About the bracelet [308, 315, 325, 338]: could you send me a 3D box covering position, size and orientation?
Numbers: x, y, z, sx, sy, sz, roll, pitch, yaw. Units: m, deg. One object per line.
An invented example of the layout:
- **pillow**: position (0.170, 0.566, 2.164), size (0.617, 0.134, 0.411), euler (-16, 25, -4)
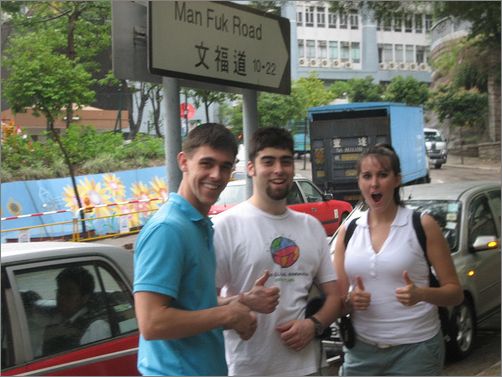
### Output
- **bracelet**: position (0.417, 0.884, 3.445), size (0.092, 0.114, 0.057), euler (-4, 5, 7)

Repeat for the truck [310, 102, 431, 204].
- **truck**: position (3.506, -1.226, 16.921), size (2.530, 3.046, 5.026), euler (-1, 1, 30)

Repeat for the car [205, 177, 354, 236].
- **car**: position (0.874, 0.379, 11.753), size (1.394, 1.130, 2.719), euler (5, 11, 42)
